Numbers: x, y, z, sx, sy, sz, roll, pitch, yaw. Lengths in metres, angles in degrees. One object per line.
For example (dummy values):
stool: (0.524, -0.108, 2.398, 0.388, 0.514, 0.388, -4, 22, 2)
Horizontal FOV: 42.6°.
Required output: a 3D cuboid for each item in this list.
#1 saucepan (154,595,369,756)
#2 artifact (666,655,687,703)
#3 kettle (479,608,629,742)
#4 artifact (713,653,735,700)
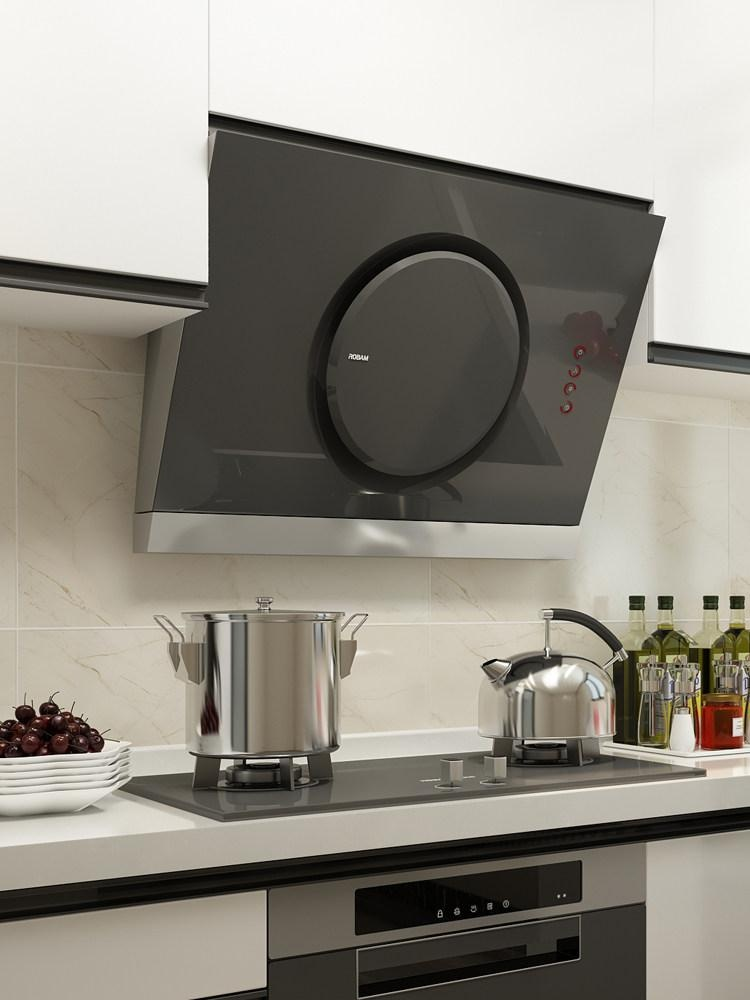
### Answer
saucepan: (-0.128, 0.228, 1.231, 0.279, 0.191, 0.184, 2, -7, -19)
artifact: (0.575, 0.333, 1.826, 0.039, 0.080, 0.182, -3, -11, 17)
kettle: (0.293, 0.288, 1.616, 0.254, 0.223, 0.204, 5, -9, -22)
artifact: (0.671, 0.340, 1.848, 0.040, 0.067, 0.138, -4, -12, 19)
